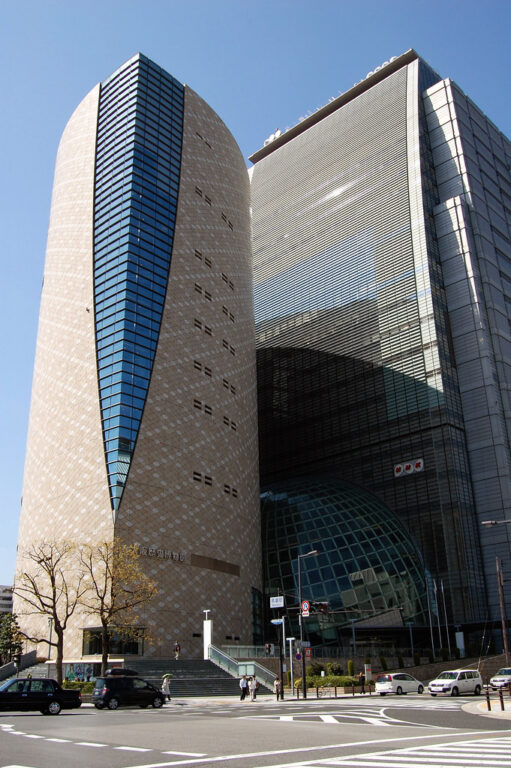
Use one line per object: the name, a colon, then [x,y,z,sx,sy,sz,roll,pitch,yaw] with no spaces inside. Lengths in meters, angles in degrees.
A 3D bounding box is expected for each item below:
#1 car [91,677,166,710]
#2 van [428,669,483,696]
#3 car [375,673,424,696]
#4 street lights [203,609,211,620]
car: [-5.601,13.746,30.015,2.724,1.194,1.561,2,-25,-16]
van: [11.586,17.362,39.303,3.025,1.308,1.653,26,-43,-28]
car: [8.934,18.512,41.584,2.662,1.064,1.433,4,-18,-25]
street lights: [-3.958,18.797,54.919,0.373,0.883,0.942,-10,-20,18]
